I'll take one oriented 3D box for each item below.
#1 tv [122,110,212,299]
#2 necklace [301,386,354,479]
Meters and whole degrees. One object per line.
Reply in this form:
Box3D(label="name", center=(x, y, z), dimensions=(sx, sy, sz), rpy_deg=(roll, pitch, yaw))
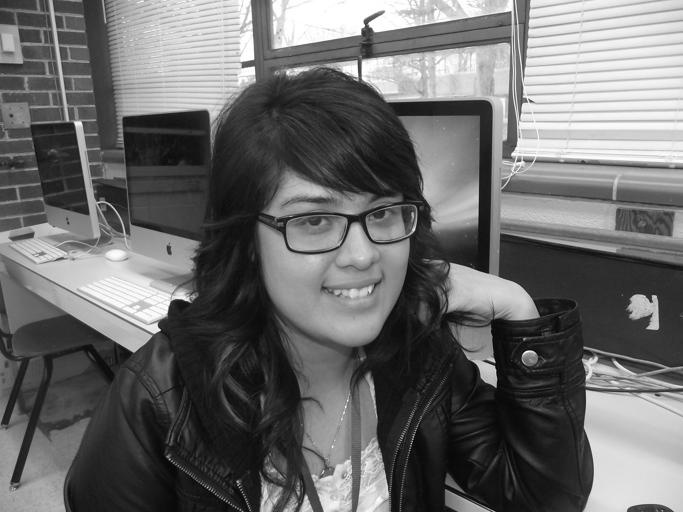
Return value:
Box3D(label="tv", center=(-0.621, -0.224, 2.036), dimensions=(0.688, 0.707, 0.219), rpy_deg=(9, 16, 41))
Box3D(label="necklace", center=(-0.035, 0.398, 1.099), dimensions=(0.180, 0.199, 0.016), rpy_deg=(3, -1, -39))
